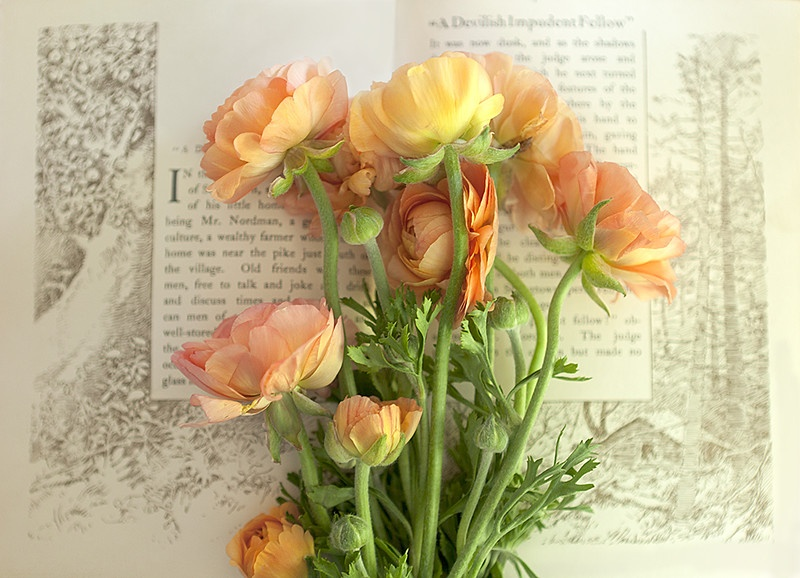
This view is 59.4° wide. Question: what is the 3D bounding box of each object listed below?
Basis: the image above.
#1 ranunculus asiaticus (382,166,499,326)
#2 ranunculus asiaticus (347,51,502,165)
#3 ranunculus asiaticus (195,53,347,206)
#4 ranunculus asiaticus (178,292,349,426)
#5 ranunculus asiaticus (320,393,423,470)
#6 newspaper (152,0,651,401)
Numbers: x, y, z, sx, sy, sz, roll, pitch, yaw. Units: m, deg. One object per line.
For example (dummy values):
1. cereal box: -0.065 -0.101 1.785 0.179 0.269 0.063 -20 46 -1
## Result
1. ranunculus asiaticus: 0.043 -0.058 0.880 0.148 0.199 0.101 1 0 5
2. ranunculus asiaticus: 0.035 -0.200 0.815 0.138 0.080 0.138 -6 5 -10
3. ranunculus asiaticus: -0.158 -0.201 0.878 0.185 0.181 0.095 1 0 -6
4. ranunculus asiaticus: -0.164 0.074 0.843 0.157 0.082 0.154 -16 1 -20
5. ranunculus asiaticus: -0.027 0.164 0.798 0.082 0.083 0.093 1 -21 -14
6. newspaper: 0.022 -0.096 0.919 0.700 0.569 0.063 0 -1 -3
